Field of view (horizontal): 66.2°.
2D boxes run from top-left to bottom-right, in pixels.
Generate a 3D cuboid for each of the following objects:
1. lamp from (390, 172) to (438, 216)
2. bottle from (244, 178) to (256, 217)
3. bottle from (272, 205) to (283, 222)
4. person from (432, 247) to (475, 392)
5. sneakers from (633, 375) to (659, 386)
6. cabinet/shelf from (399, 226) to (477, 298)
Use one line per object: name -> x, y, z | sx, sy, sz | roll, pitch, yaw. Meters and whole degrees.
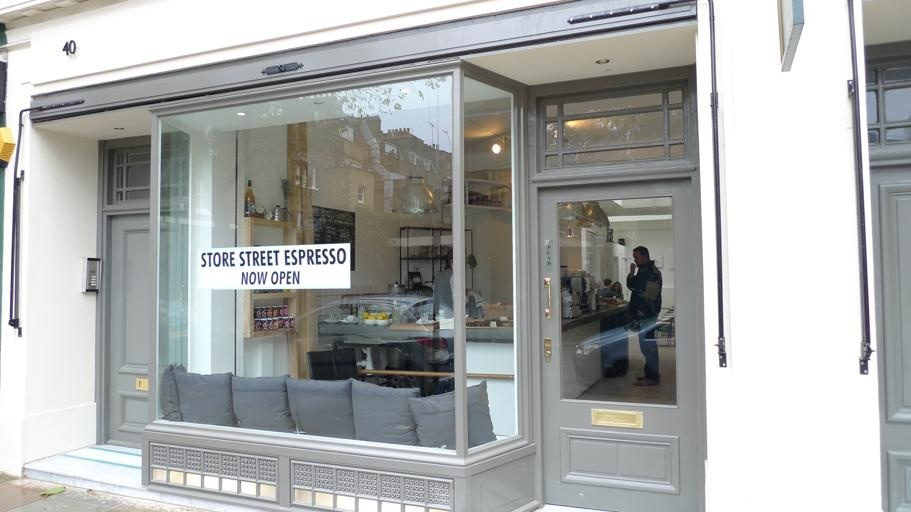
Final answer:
lamp -> -0.422, -0.632, 7.243 | 0.477, 0.385, 0.427 | 1, 2, 28
bottle -> -2.306, -0.650, 7.820 | 0.140, 0.394, 0.033 | -3, -1, 21
bottle -> -1.965, -0.469, 7.699 | 0.142, 0.177, 0.009 | -3, -1, 17
person -> -0.004, 0.653, 7.137 | 0.437, 1.029, 0.104 | -2, -1, -1
sneakers -> 2.002, 1.301, 7.304 | 0.249, 0.090, 0.090 | 2, -2, 12
cabinet/shelf -> -0.145, 0.055, 7.175 | 0.862, 0.885, 0.267 | 0, 1, 15
